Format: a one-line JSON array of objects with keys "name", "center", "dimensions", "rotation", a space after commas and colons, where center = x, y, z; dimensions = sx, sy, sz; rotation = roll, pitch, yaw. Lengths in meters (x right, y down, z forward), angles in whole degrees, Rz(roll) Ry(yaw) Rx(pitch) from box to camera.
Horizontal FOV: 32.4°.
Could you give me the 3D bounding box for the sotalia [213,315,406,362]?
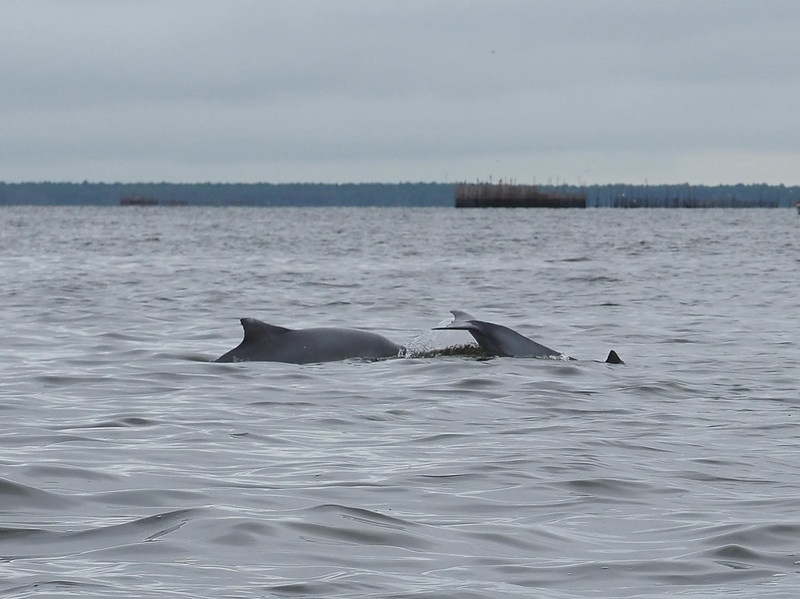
[{"name": "sotalia", "center": [-1.177, 0.588, 17.614], "dimensions": [2.721, 0.617, 0.742], "rotation": [-1, -14, -9]}]
